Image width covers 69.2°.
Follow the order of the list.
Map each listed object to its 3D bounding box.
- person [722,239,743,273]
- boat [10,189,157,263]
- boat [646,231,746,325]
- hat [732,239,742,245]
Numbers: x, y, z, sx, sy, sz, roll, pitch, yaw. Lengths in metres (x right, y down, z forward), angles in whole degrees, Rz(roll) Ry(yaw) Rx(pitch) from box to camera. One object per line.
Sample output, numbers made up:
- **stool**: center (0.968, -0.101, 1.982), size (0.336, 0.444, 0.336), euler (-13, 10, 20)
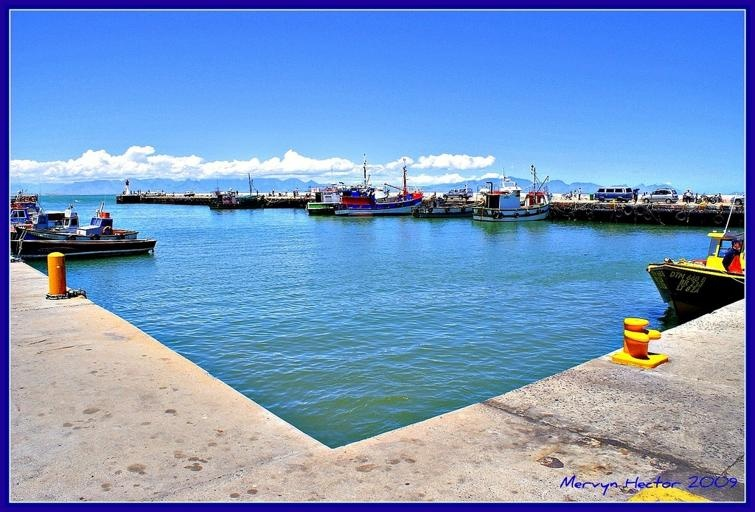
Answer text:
- **person**: center (11.288, -0.008, 17.440), size (0.514, 0.973, 0.670), euler (3, 10, 30)
- **boat**: center (-24.422, -1.937, 39.919), size (14.396, 3.714, 7.307), euler (5, 10, 38)
- **boat**: center (10.671, 0.753, 18.002), size (1.280, 3.226, 2.619), euler (-7, 10, -32)
- **hat**: center (11.477, -0.428, 17.492), size (0.346, 0.160, 0.128), euler (-3, 8, -13)
